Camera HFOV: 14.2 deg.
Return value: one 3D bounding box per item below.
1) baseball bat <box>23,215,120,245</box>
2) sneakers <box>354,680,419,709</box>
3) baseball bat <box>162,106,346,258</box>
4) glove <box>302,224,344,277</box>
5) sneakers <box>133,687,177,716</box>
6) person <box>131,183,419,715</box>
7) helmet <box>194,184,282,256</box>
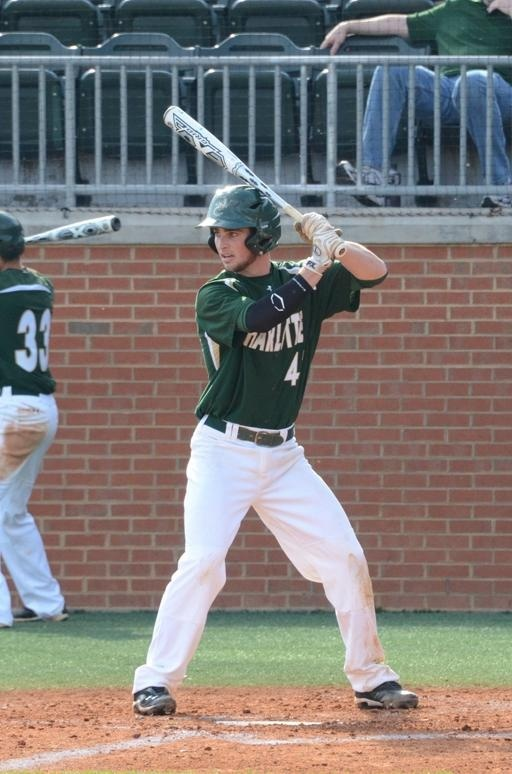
[{"bbox_3d":[-0.908,-0.750,9.959,0.512,0.082,0.082,-9,40,20],"label":"baseball bat"},{"bbox_3d":[0.511,1.212,8.062,0.242,0.131,0.102,-4,-6,7],"label":"sneakers"},{"bbox_3d":[-0.007,-0.941,9.544,1.170,0.137,0.164,45,33,15],"label":"baseball bat"},{"bbox_3d":[0.256,-0.537,7.997,0.179,0.263,0.338,1,2,1],"label":"glove"},{"bbox_3d":[-0.393,1.215,7.857,0.080,0.087,0.170,12,-17,-43],"label":"sneakers"},{"bbox_3d":[0.063,0.295,8.023,1.054,1.941,0.483,1,3,0],"label":"person"},{"bbox_3d":[-0.054,-0.665,8.078,0.331,0.281,0.244,-16,24,-33],"label":"helmet"}]
